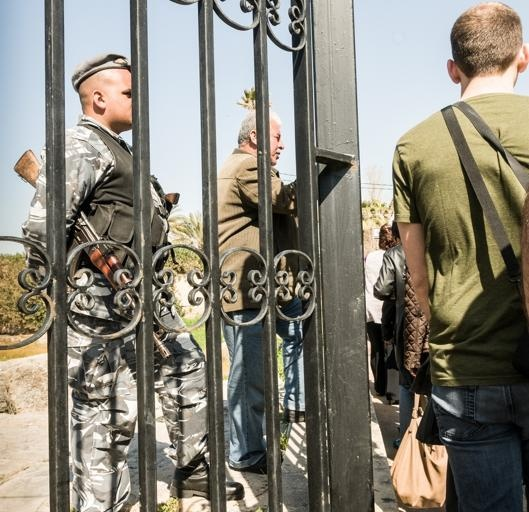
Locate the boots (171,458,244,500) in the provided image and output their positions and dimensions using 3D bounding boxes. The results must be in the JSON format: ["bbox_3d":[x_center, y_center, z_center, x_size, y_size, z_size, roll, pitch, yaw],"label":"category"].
[{"bbox_3d":[-0.263,1.014,4.630,0.335,0.296,0.127,3,20,13],"label":"boots"}]

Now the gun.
[{"bbox_3d":[-0.619,-0.019,3.853,0.583,0.786,0.749,-9,-14,21],"label":"gun"}]

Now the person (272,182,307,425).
[{"bbox_3d":[0.139,0.289,5.291,0.125,1.556,0.153,-3,9,-6],"label":"person"}]
